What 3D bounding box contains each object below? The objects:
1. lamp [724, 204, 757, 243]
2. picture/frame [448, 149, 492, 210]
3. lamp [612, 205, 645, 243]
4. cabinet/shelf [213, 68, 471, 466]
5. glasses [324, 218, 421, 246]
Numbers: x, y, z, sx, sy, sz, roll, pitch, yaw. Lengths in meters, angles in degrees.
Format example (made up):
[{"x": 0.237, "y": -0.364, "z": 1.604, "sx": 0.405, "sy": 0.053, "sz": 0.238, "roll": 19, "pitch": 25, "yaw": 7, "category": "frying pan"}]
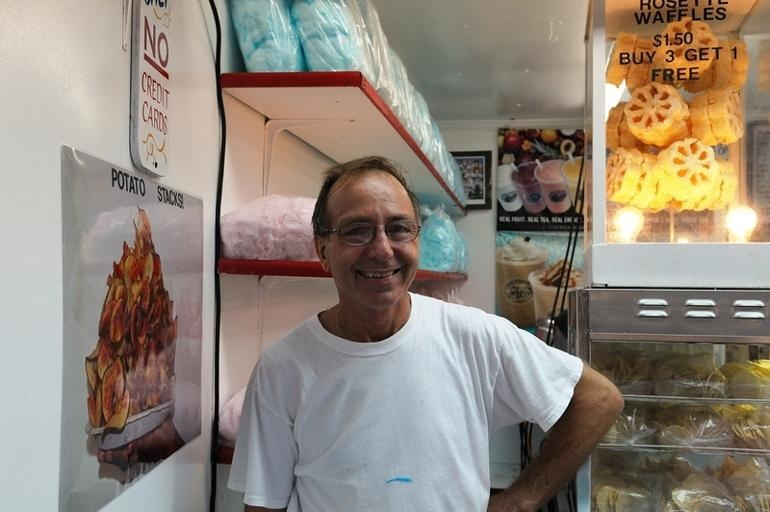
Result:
[{"x": 1.274, "y": -0.110, "z": 2.369, "sx": 0.098, "sy": 0.129, "sz": 0.059, "roll": 4, "pitch": -1, "yaw": 8, "category": "lamp"}, {"x": 0.615, "y": -0.553, "z": 4.767, "sx": 0.018, "sy": 0.392, "sz": 0.375, "roll": -12, "pitch": 14, "yaw": -37, "category": "picture/frame"}, {"x": 0.888, "y": -0.109, "z": 2.414, "sx": 0.101, "sy": 0.125, "sz": 0.029, "roll": 9, "pitch": 2, "yaw": 12, "category": "lamp"}, {"x": -0.202, "y": 0.035, "z": 2.335, "sx": 0.237, "sy": 0.800, "sz": 1.721, "roll": -2, "pitch": -5, "yaw": 8, "category": "cabinet/shelf"}, {"x": -0.045, "y": -0.064, "z": 2.046, "sx": 0.305, "sy": 0.073, "sz": 0.112, "roll": -2, "pitch": -2, "yaw": 4, "category": "glasses"}]
